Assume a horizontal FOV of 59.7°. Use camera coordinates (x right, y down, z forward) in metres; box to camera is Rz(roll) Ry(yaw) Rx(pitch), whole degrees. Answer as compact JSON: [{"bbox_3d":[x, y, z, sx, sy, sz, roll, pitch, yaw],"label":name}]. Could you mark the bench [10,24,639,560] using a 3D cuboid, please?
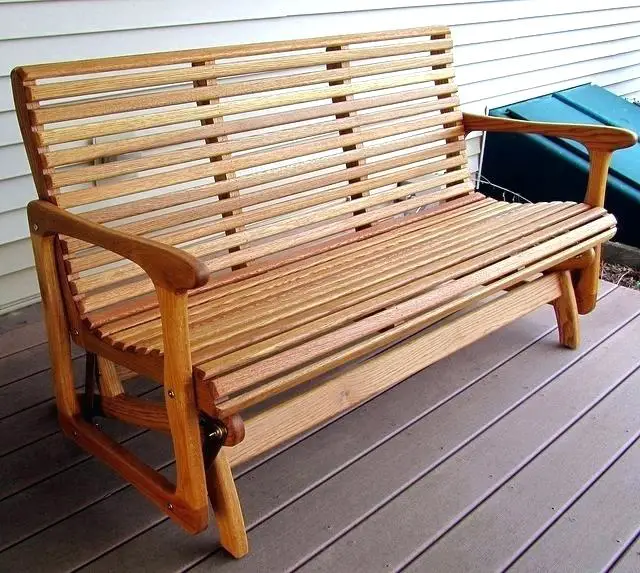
[{"bbox_3d":[0.095,-0.134,1.597,1.798,1.139,0.941,-22,28,-27],"label":"bench"}]
